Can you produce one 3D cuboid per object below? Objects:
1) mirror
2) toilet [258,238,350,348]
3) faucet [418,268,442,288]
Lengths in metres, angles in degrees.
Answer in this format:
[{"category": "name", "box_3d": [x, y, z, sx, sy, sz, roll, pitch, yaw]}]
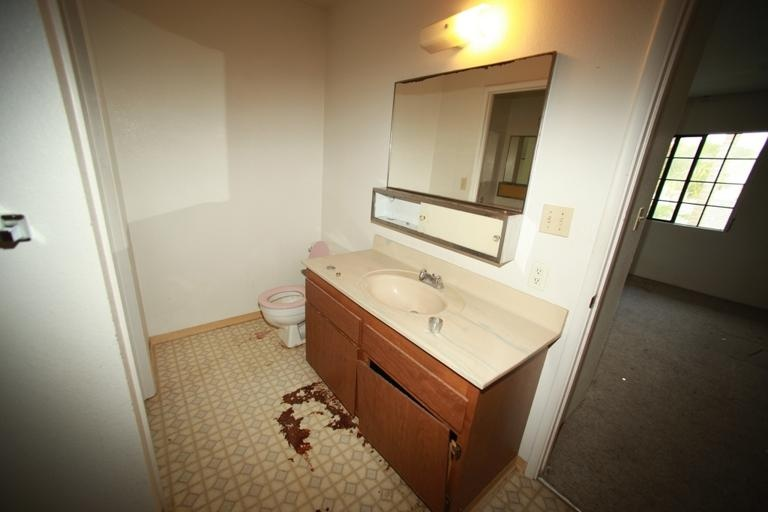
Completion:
[{"category": "mirror", "box_3d": [0.585, -0.792, 3.095, 0.049, 0.798, 1.069, -14, 20, -43]}, {"category": "toilet", "box_3d": [-0.625, 0.298, 3.783, 0.775, 0.880, 0.454, -15, 31, -40]}, {"category": "faucet", "box_3d": [0.312, 0.144, 3.298, 0.169, 0.085, 0.119, 6, 20, 7]}]
